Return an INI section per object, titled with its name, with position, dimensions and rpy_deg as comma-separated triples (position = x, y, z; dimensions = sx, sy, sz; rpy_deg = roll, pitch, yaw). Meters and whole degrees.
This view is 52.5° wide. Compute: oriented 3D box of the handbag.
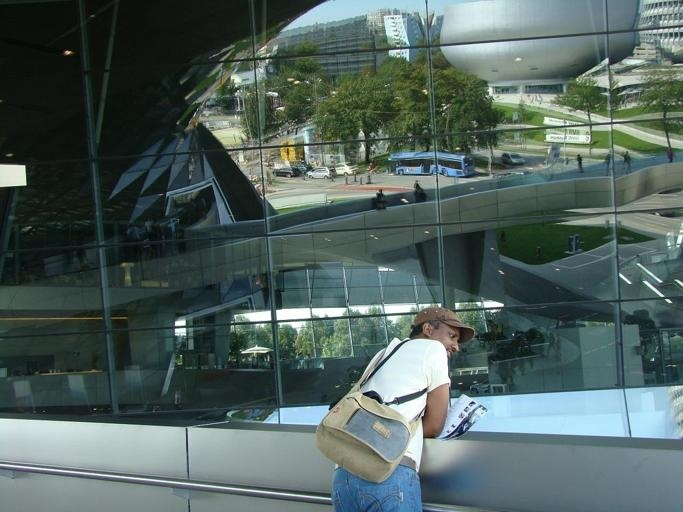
[handbag]
position = 0.333, 1.462, 6.313
dimensions = 0.657, 1.061, 0.444
rpy_deg = 33, -30, 8

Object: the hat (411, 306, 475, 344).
[hat]
position = 0.998, 0.674, 6.769
dimensions = 0.521, 0.249, 0.339
rpy_deg = 6, -7, 0
